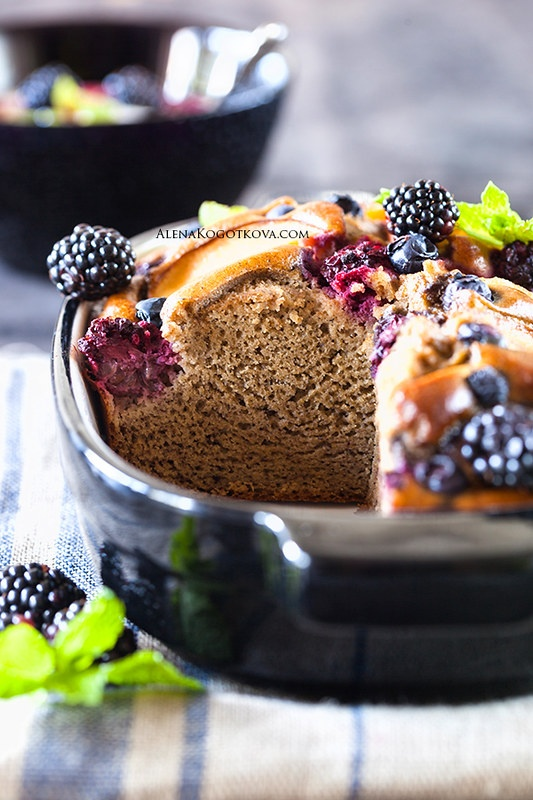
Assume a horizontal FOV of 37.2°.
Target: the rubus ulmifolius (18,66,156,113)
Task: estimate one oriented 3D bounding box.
[{"bbox_3d":[-0.430,-0.770,1.934,0.244,0.073,0.216,-10,26,-22],"label":"rubus ulmifolius"}]
